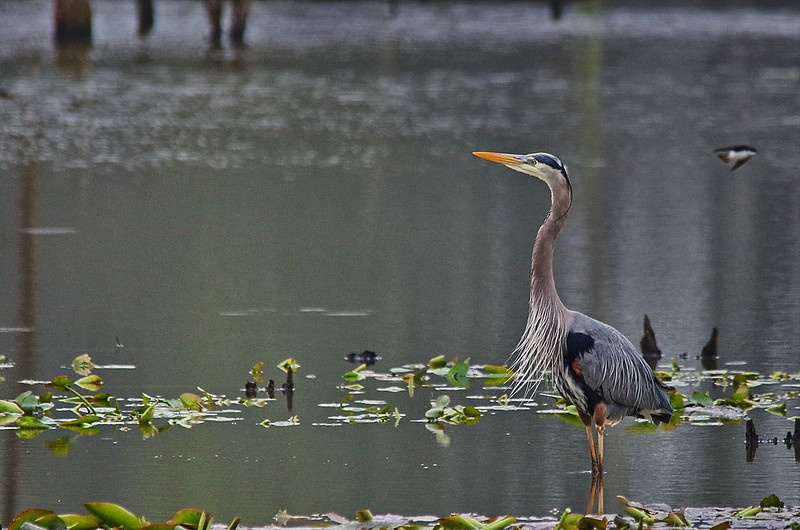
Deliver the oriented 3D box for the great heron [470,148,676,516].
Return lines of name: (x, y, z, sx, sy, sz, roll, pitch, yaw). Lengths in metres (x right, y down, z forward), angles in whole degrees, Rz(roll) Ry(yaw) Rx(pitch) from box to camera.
great heron: (1.770, 0.616, 15.835, 1.685, 3.638, 1.979, -1, 0, -2)
